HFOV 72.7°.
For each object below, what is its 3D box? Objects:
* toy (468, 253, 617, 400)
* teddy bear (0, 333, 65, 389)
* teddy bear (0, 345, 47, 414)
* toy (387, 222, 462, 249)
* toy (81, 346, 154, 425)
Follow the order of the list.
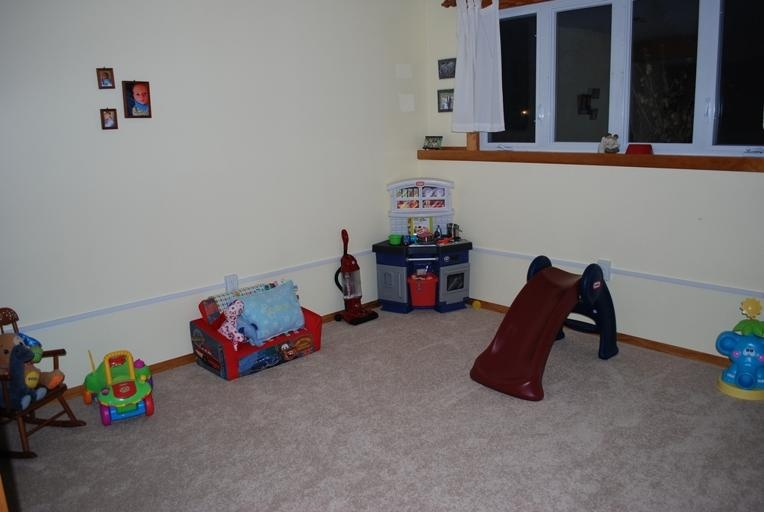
[{"bbox_3d":[1.631,0.615,5.410,1.794,1.159,0.871,-17,18,-41],"label":"toy"},{"bbox_3d":[-3.045,0.893,4.627,0.500,0.592,0.386,0,3,6],"label":"teddy bear"},{"bbox_3d":[-3.035,1.004,4.367,0.256,0.472,0.269,11,22,33],"label":"teddy bear"},{"bbox_3d":[0.548,-0.294,6.597,0.940,0.245,0.360,-1,19,-1],"label":"toy"},{"bbox_3d":[-2.453,1.209,4.821,0.558,0.544,0.514,-9,20,-23],"label":"toy"}]
